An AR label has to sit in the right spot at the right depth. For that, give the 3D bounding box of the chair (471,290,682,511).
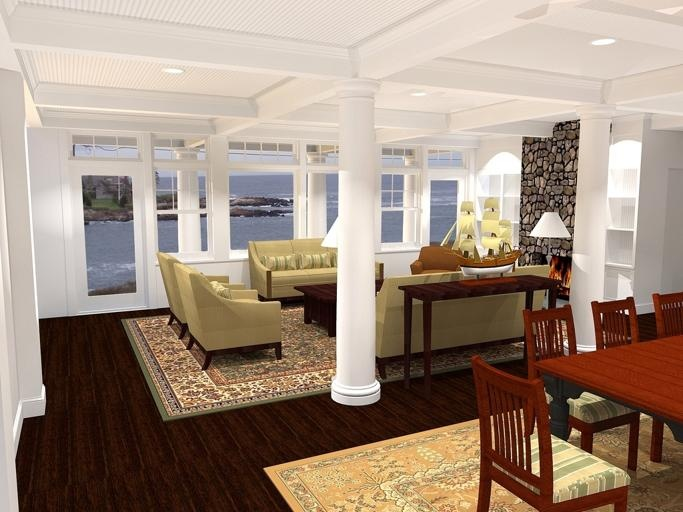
[{"bbox_3d":[1.664,1.030,3.229,1.811,0.651,0.511,-4,5,-30],"label":"chair"}]

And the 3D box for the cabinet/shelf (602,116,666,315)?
[{"bbox_3d":[4.896,-0.666,7.552,0.988,3.220,0.697,5,13,24],"label":"cabinet/shelf"}]

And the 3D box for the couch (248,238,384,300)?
[{"bbox_3d":[-0.487,0.221,8.931,2.413,0.885,0.956,-5,21,-26],"label":"couch"}]

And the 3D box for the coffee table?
[{"bbox_3d":[-0.209,0.720,6.942,1.138,0.430,1.022,-2,3,-27],"label":"coffee table"}]

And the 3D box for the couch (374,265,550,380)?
[{"bbox_3d":[1.468,0.642,5.005,1.777,0.631,0.564,-2,5,-17],"label":"couch"}]

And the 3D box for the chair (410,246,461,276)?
[{"bbox_3d":[1.858,0.134,8.915,0.910,0.618,0.659,2,4,16],"label":"chair"}]

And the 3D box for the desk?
[{"bbox_3d":[1.306,0.792,4.525,1.661,0.696,0.426,-3,10,-23],"label":"desk"}]

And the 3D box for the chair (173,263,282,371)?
[{"bbox_3d":[-1.349,0.728,5.502,1.219,1.187,0.618,-2,11,-8],"label":"chair"}]
